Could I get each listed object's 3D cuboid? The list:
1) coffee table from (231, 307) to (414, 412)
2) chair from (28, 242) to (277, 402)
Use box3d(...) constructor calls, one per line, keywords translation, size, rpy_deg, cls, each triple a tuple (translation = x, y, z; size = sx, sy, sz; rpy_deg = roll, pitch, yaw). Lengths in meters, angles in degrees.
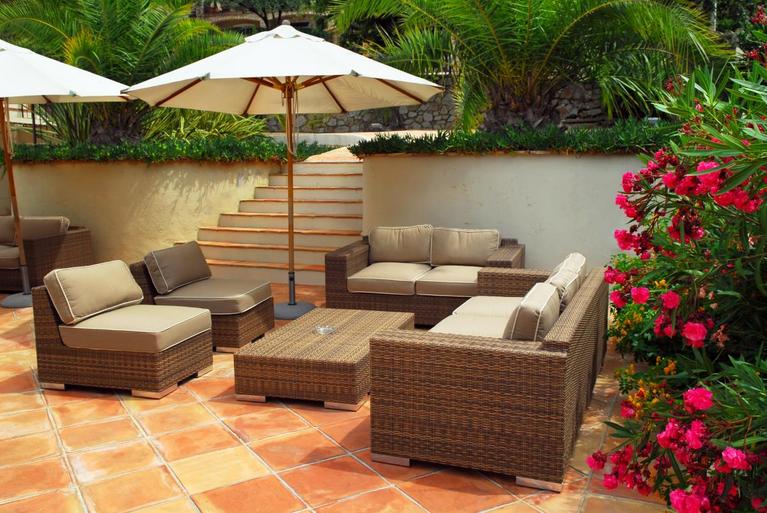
box3d(translation=(-0.459, 0.795, 5.033), size=(1.075, 0.349, 1.508), rpy_deg=(1, 13, 19), cls="coffee table")
box3d(translation=(-2.037, 0.690, 5.124), size=(1.442, 0.994, 2.311), rpy_deg=(1, 5, 9), cls="chair")
